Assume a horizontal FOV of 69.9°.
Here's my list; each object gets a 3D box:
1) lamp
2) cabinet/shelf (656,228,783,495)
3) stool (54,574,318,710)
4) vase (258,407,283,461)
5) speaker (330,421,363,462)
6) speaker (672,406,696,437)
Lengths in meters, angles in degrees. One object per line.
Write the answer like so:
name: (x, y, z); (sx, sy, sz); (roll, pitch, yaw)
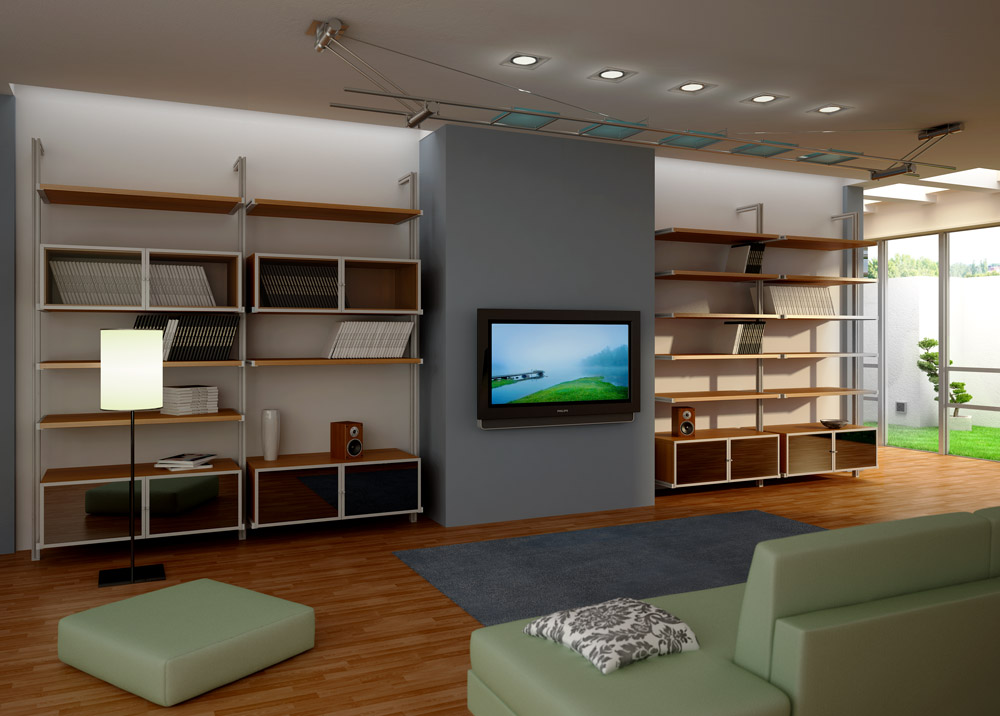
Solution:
lamp: (-2.570, 0.659, 4.995); (0.438, 1.718, 0.548); (-2, 6, -27)
cabinet/shelf: (2.280, 0.032, 7.612); (1.589, 2.687, 0.720); (-2, 6, -23)
stool: (-1.664, 1.485, 3.869); (0.854, 0.313, 0.869); (4, 6, 38)
vase: (-1.902, 0.635, 6.007); (0.164, 0.412, 0.315); (-1, 5, -17)
speaker: (-1.271, 0.689, 5.971); (0.295, 0.309, 0.342); (1, -1, -37)
speaker: (1.895, 0.656, 7.396); (0.213, 0.298, 0.128); (1, 5, 2)
